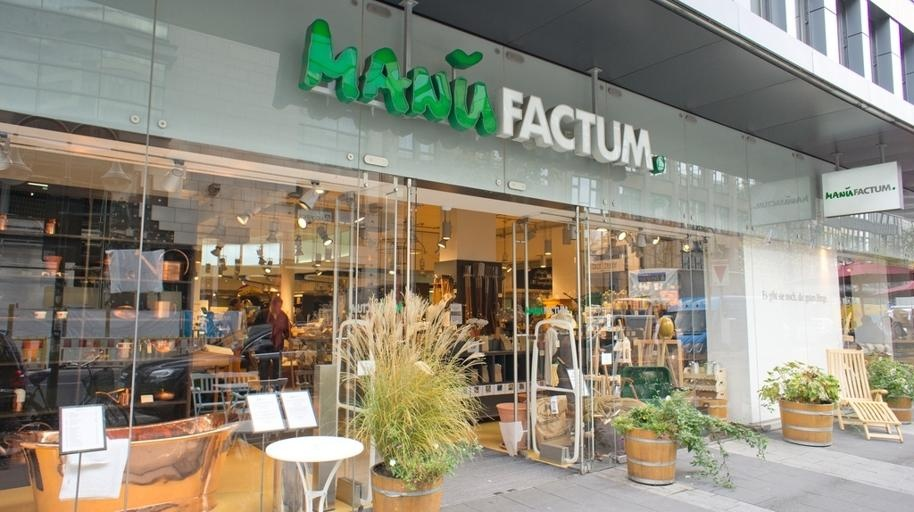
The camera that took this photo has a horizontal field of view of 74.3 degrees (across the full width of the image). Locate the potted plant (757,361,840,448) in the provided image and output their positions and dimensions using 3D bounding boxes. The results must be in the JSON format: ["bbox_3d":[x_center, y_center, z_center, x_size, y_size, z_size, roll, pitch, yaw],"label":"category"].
[{"bbox_3d":[6.383,2.737,10.798,1.365,1.210,1.089,0,-9,22],"label":"potted plant"}]

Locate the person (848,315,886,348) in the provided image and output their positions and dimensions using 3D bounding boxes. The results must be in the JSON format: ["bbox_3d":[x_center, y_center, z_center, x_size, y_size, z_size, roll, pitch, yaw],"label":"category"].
[{"bbox_3d":[9.495,1.783,13.842,0.966,0.887,0.243,5,-2,-23],"label":"person"}]

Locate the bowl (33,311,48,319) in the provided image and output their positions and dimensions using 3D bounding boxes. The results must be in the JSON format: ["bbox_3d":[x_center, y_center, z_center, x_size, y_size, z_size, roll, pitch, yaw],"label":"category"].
[{"bbox_3d":[-4.905,0.697,7.097,0.115,0.068,0.110,1,-5,0],"label":"bowl"}]

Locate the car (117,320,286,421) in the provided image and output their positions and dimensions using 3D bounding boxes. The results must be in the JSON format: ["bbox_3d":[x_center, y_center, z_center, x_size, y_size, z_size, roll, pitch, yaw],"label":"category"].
[{"bbox_3d":[-3.220,1.528,7.597,1.595,0.717,0.987,1,-6,-36],"label":"car"}]

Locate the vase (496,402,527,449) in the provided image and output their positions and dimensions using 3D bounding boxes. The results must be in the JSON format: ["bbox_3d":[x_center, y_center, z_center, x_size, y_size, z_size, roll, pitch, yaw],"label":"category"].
[{"bbox_3d":[0.886,2.773,10.077,0.661,0.636,0.648,-1,1,-11],"label":"vase"}]

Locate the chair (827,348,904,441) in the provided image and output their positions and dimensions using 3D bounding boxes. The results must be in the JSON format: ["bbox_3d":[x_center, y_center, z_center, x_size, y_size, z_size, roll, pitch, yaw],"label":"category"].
[{"bbox_3d":[7.765,2.659,11.553,0.914,1.116,1.696,3,6,10],"label":"chair"}]

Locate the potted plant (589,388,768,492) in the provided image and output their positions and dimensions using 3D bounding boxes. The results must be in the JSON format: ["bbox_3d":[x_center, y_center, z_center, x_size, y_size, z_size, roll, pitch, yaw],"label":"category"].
[{"bbox_3d":[3.566,2.723,8.989,1.843,0.928,1.124,-16,-17,32],"label":"potted plant"}]
